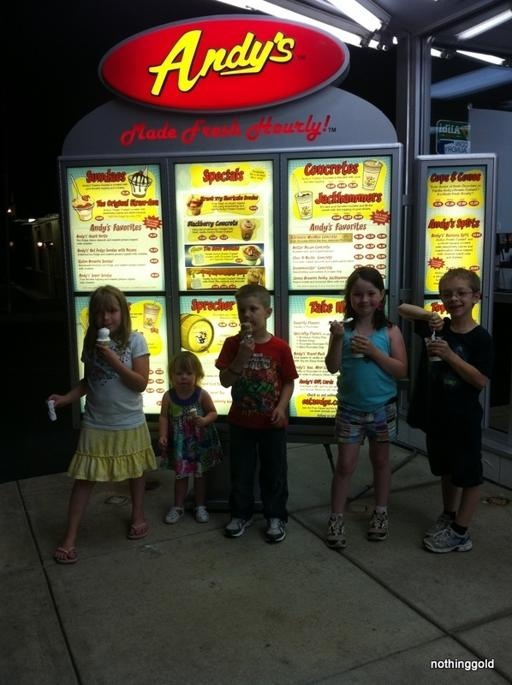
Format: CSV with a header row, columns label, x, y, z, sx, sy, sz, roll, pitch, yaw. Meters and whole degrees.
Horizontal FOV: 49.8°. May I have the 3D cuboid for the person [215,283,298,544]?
label,x,y,z,sx,sy,sz,roll,pitch,yaw
person,0.031,0.402,3.176,0.448,1.461,0.483,-3,4,-17

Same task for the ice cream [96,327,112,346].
label,x,y,z,sx,sy,sz,roll,pitch,yaw
ice cream,-0.801,-0.021,2.900,0.086,0.093,0.078,3,9,30

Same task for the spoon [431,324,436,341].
label,x,y,z,sx,sy,sz,roll,pitch,yaw
spoon,0.943,-0.050,2.919,0.018,0.087,0.042,-3,3,-40

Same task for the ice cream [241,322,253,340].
label,x,y,z,sx,sy,sz,roll,pitch,yaw
ice cream,-0.051,-0.056,2.892,0.047,0.075,0.061,-11,40,-16

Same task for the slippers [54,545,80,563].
label,x,y,z,sx,sy,sz,roll,pitch,yaw
slippers,-1.023,1.132,2.967,0.120,0.079,0.113,-4,5,-28

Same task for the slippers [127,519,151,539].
label,x,y,z,sx,sy,sz,roll,pitch,yaw
slippers,-0.697,1.107,3.264,0.087,0.056,0.166,-1,-11,3

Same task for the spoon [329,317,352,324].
label,x,y,z,sx,sy,sz,roll,pitch,yaw
spoon,0.490,-0.123,3.156,0.130,0.018,0.032,-9,25,-11

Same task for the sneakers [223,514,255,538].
label,x,y,z,sx,sy,sz,roll,pitch,yaw
sneakers,-0.100,1.096,3.286,0.077,0.085,0.201,-3,-5,23

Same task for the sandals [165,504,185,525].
label,x,y,z,sx,sy,sz,roll,pitch,yaw
sandals,-0.516,1.089,3.487,0.057,0.054,0.137,-1,-1,19

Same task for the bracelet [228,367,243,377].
label,x,y,z,sx,sy,sz,roll,pitch,yaw
bracelet,-0.115,0.165,3.063,0.058,0.047,0.048,-3,4,-16

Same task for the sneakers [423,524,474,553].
label,x,y,z,sx,sy,sz,roll,pitch,yaw
sneakers,1.045,1.082,3.046,0.291,0.127,0.114,0,9,0

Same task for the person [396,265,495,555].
label,x,y,z,sx,sy,sz,roll,pitch,yaw
person,1.047,0.365,3.025,0.402,1.517,0.397,-2,4,-10

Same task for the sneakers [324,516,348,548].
label,x,y,z,sx,sy,sz,roll,pitch,yaw
sneakers,0.447,1.055,3.083,0.105,0.163,0.125,-1,4,7

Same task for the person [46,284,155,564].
label,x,y,z,sx,sy,sz,roll,pitch,yaw
person,-0.856,0.426,3.074,0.594,1.460,0.468,-4,5,-35

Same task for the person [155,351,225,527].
label,x,y,z,sx,sy,sz,roll,pitch,yaw
person,-0.417,0.586,3.454,0.367,1.056,0.314,-2,4,-5

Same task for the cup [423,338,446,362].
label,x,y,z,sx,sy,sz,roll,pitch,yaw
cup,0.952,0.045,2.931,0.089,0.137,0.204,0,4,17
